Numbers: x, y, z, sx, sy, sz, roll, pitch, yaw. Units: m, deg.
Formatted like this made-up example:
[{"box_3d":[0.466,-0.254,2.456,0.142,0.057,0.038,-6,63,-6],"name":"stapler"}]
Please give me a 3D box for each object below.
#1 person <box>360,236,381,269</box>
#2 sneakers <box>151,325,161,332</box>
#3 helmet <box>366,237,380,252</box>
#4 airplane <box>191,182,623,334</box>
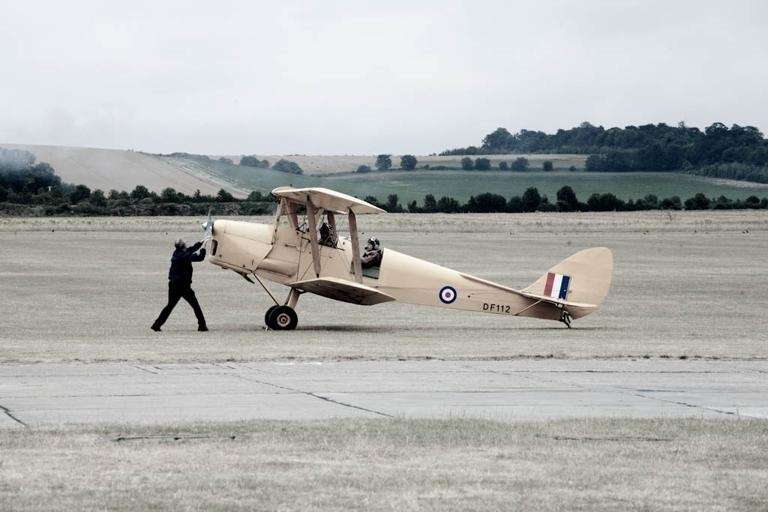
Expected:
[{"box_3d":[-0.343,-0.055,42.515,0.890,0.983,0.686,3,-1,1],"name":"person"},{"box_3d":[-6.408,2.029,40.267,0.275,0.182,0.405,3,2,-8],"name":"sneakers"},{"box_3d":[-0.336,-0.358,42.361,0.407,0.388,0.322,25,25,26],"name":"helmet"},{"box_3d":[0.637,0.185,43.080,12.122,2.817,5.492,3,2,-7],"name":"airplane"}]
